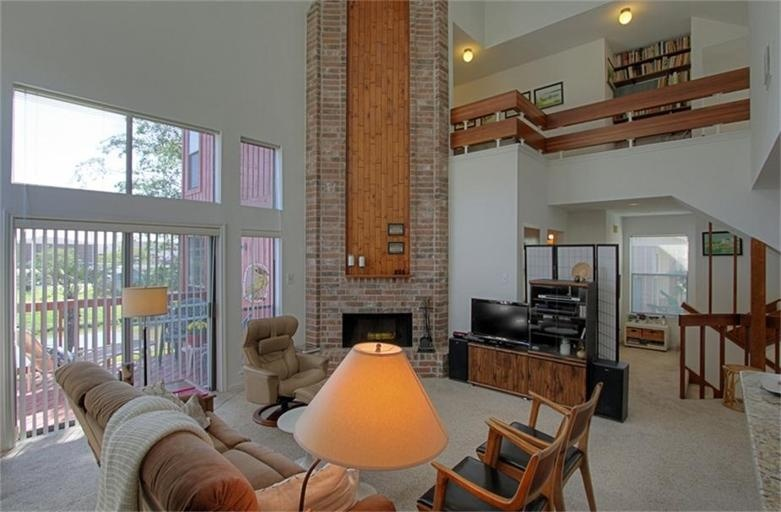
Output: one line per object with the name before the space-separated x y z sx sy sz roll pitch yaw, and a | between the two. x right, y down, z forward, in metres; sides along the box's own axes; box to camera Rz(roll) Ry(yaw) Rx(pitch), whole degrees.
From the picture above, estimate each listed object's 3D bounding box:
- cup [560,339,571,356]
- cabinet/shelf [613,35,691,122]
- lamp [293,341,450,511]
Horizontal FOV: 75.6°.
cup | 2.700 1.388 7.752 0.149 0.270 0.184 -2 -1 19
cabinet/shelf | 5.322 -3.572 10.295 1.425 1.821 0.804 -2 -1 30
lamp | -0.272 1.400 4.969 1.173 1.740 1.158 -1 9 -9
